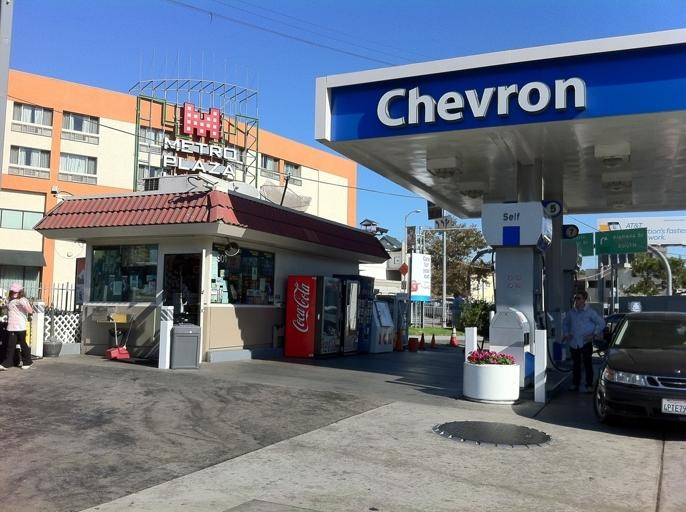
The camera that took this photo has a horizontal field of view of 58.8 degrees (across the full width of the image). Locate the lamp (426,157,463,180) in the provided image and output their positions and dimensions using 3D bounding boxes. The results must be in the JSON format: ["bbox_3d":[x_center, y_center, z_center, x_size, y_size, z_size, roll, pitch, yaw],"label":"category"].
[{"bbox_3d":[2.728,-2.419,16.372,0.840,0.510,0.728,1,0,24],"label":"lamp"}]

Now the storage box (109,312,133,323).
[{"bbox_3d":[-5.969,1.674,16.556,0.350,0.156,0.363,3,2,0],"label":"storage box"}]

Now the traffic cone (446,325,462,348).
[{"bbox_3d":[5.265,3.793,28.778,0.915,1.313,0.967,-1,-9,4],"label":"traffic cone"}]

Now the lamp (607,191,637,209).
[{"bbox_3d":[9.544,-1.917,20.926,0.763,0.634,2.618,1,0,27],"label":"lamp"}]

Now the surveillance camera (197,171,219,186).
[{"bbox_3d":[-3.593,-2.060,16.438,0.394,0.157,0.424,8,-3,30],"label":"surveillance camera"}]

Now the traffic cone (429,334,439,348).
[{"bbox_3d":[3.589,3.369,24.154,0.213,0.520,0.704,1,0,8],"label":"traffic cone"}]

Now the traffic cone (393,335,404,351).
[{"bbox_3d":[2.089,3.255,22.692,0.430,0.626,0.466,0,-10,1],"label":"traffic cone"}]

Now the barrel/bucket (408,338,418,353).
[{"bbox_3d":[2.600,3.238,22.315,0.374,0.459,0.387,1,-3,0],"label":"barrel/bucket"}]

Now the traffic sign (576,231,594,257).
[{"bbox_3d":[17.181,-0.810,43.099,0.912,1.652,1.399,1,0,14],"label":"traffic sign"}]

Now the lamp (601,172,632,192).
[{"bbox_3d":[7.655,-2.107,17.016,0.624,0.427,0.703,7,-10,-7],"label":"lamp"}]

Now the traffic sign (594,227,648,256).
[{"bbox_3d":[18.086,-0.913,39.666,0.247,1.300,2.413,1,-3,-37],"label":"traffic sign"}]

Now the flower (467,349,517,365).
[{"bbox_3d":[2.876,1.979,11.814,0.893,0.262,0.409,1,0,13],"label":"flower"}]
